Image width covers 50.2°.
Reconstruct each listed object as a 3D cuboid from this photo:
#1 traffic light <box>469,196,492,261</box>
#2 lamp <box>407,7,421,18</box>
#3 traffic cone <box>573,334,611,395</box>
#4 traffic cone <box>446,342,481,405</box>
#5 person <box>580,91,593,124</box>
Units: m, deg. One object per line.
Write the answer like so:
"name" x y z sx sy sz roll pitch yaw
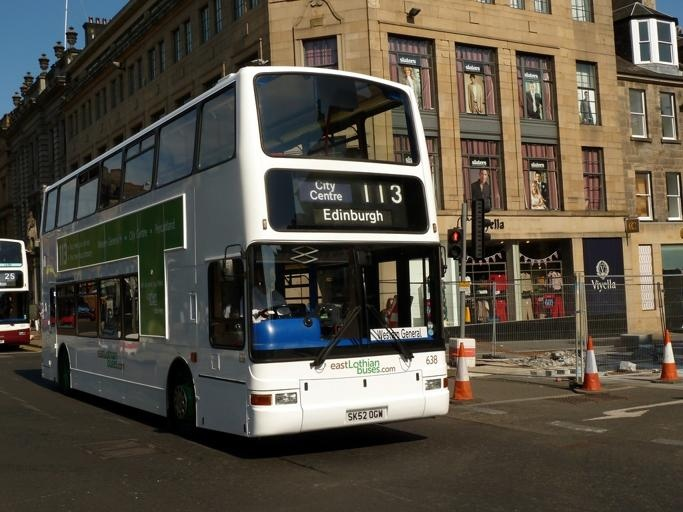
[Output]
"traffic light" 3.652 -0.773 19.292 0.474 1.165 0.640 -2 -1 12
"lamp" 2.975 -9.937 29.366 0.557 0.420 0.421 -1 -1 -37
"traffic cone" 5.301 2.259 15.448 0.885 1.191 0.996 -5 -6 26
"traffic cone" 2.495 2.361 14.955 0.989 1.104 0.990 -3 -1 42
"person" 11.466 -7.062 34.178 0.764 1.308 0.258 -1 -1 -36
